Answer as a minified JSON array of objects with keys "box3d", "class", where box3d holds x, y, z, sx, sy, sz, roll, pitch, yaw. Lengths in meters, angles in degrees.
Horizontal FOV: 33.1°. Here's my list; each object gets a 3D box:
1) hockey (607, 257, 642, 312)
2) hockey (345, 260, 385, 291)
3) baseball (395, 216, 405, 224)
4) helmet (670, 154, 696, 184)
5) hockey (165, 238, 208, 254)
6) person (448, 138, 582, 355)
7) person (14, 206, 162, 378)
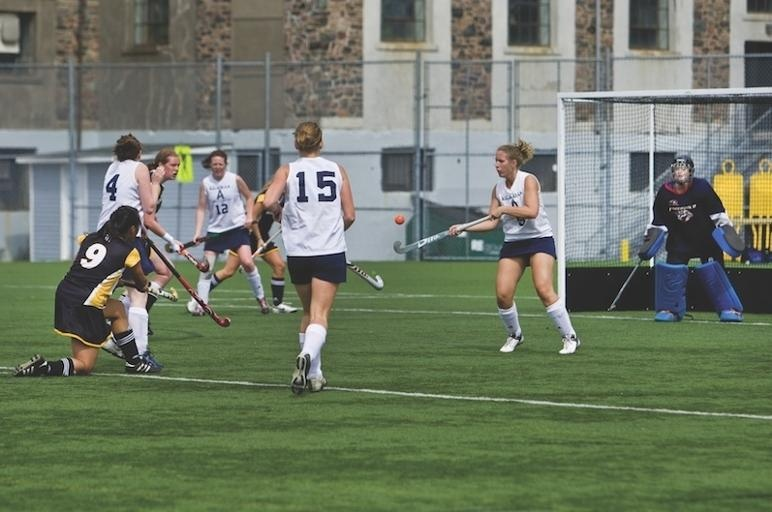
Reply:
[{"box3d":[3.346,0.407,17.866,0.447,0.709,0.355,-12,16,-42],"class":"hockey"},{"box3d":[-0.330,0.342,21.562,0.105,0.289,0.981,-31,-35,26],"class":"hockey"},{"box3d":[0.271,-0.652,23.159,0.179,0.092,0.173,-1,-3,-4],"class":"baseball"},{"box3d":[3.857,-1.104,16.818,0.285,0.349,0.272,0,12,5],"class":"helmet"},{"box3d":[-2.909,-0.153,19.057,0.164,0.129,0.759,44,35,18],"class":"hockey"},{"box3d":[1.489,-0.073,15.192,1.365,2.313,0.953,0,1,-28],"class":"person"},{"box3d":[-3.135,0.389,13.939,1.245,1.814,0.405,-3,12,-11],"class":"person"}]
